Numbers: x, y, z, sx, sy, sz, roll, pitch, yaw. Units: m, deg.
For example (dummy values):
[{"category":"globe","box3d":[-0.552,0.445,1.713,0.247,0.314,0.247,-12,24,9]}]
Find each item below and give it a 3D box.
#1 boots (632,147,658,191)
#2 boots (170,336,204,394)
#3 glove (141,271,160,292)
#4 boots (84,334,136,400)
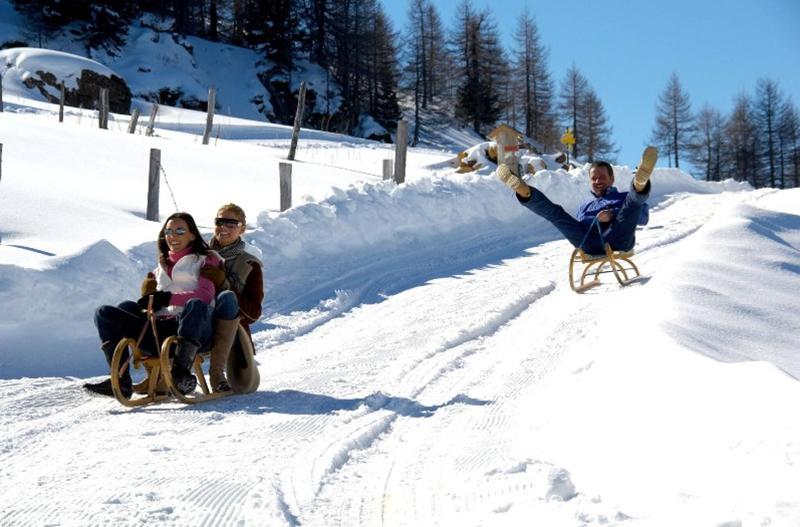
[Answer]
[{"category":"boots","box3d":[3.069,-1.178,9.594,0.261,0.586,0.956,5,10,17]},{"category":"boots","box3d":[-2.188,1.054,7.832,0.266,0.652,0.283,-1,11,-18]},{"category":"glove","box3d":[-2.579,0.215,8.029,0.154,0.236,0.233,1,-16,-5]},{"category":"boots","box3d":[-2.952,1.054,7.793,0.459,0.691,0.464,-1,11,-18]}]
